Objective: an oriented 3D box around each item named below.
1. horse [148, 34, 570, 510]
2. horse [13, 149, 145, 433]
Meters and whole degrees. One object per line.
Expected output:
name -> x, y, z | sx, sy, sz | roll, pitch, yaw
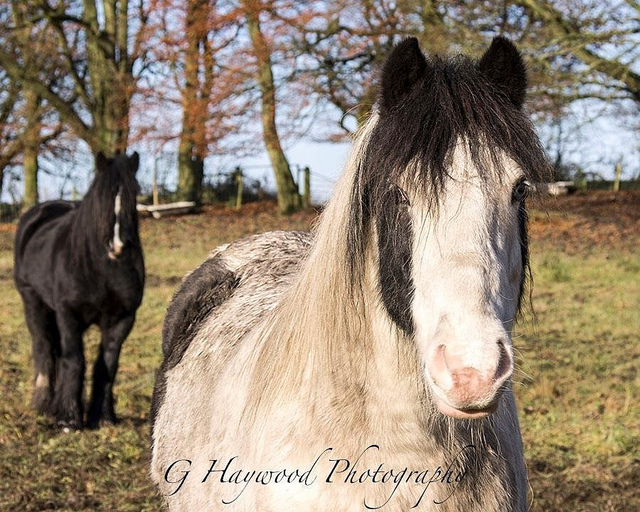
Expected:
horse -> 0.259, 0.201, 7.449 | 2.657, 3.399, 1.245 | 1, 10, 22
horse -> -2.484, 0.344, 10.303 | 1.311, 2.670, 0.977 | 2, 10, 24
